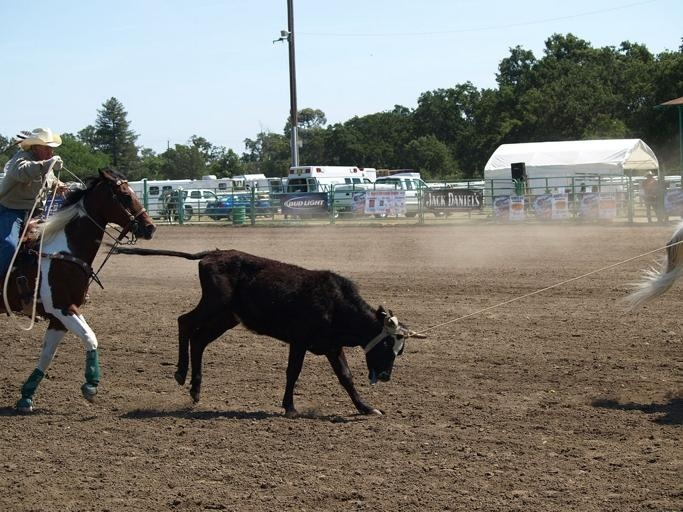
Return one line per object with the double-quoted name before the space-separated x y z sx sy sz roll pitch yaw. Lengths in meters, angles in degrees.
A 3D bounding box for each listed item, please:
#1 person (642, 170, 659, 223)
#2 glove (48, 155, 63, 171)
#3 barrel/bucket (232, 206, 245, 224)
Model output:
"person" 8.740 -1.672 30.613 0.363 1.338 0.763 -3 0 10
"glove" -3.721 -1.205 13.903 0.160 0.184 0.184 11 0 -12
"barrel/bucket" -3.751 -1.455 38.433 0.486 0.666 0.805 -3 0 -5
